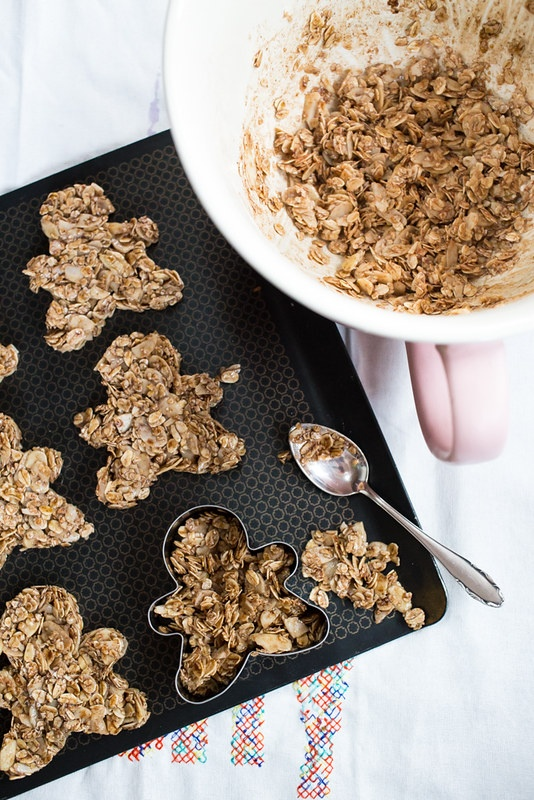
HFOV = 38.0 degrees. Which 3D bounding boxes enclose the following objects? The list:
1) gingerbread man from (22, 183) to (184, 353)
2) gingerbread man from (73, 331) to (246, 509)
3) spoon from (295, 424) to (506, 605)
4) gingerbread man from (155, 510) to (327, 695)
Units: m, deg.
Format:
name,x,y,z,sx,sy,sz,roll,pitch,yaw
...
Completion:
name,x,y,z,sx,sy,sz,roll,pitch,yaw
gingerbread man,-0.198,-0.154,0.893,0.161,0.116,0.153,-21,64,-16
gingerbread man,-0.118,0.015,0.879,0.190,0.115,0.165,-16,63,-14
spoon,0.143,0.132,0.861,0.303,0.039,0.070,42,95,6
gingerbread man,-0.045,0.211,0.844,0.173,0.103,0.185,-21,64,-17
